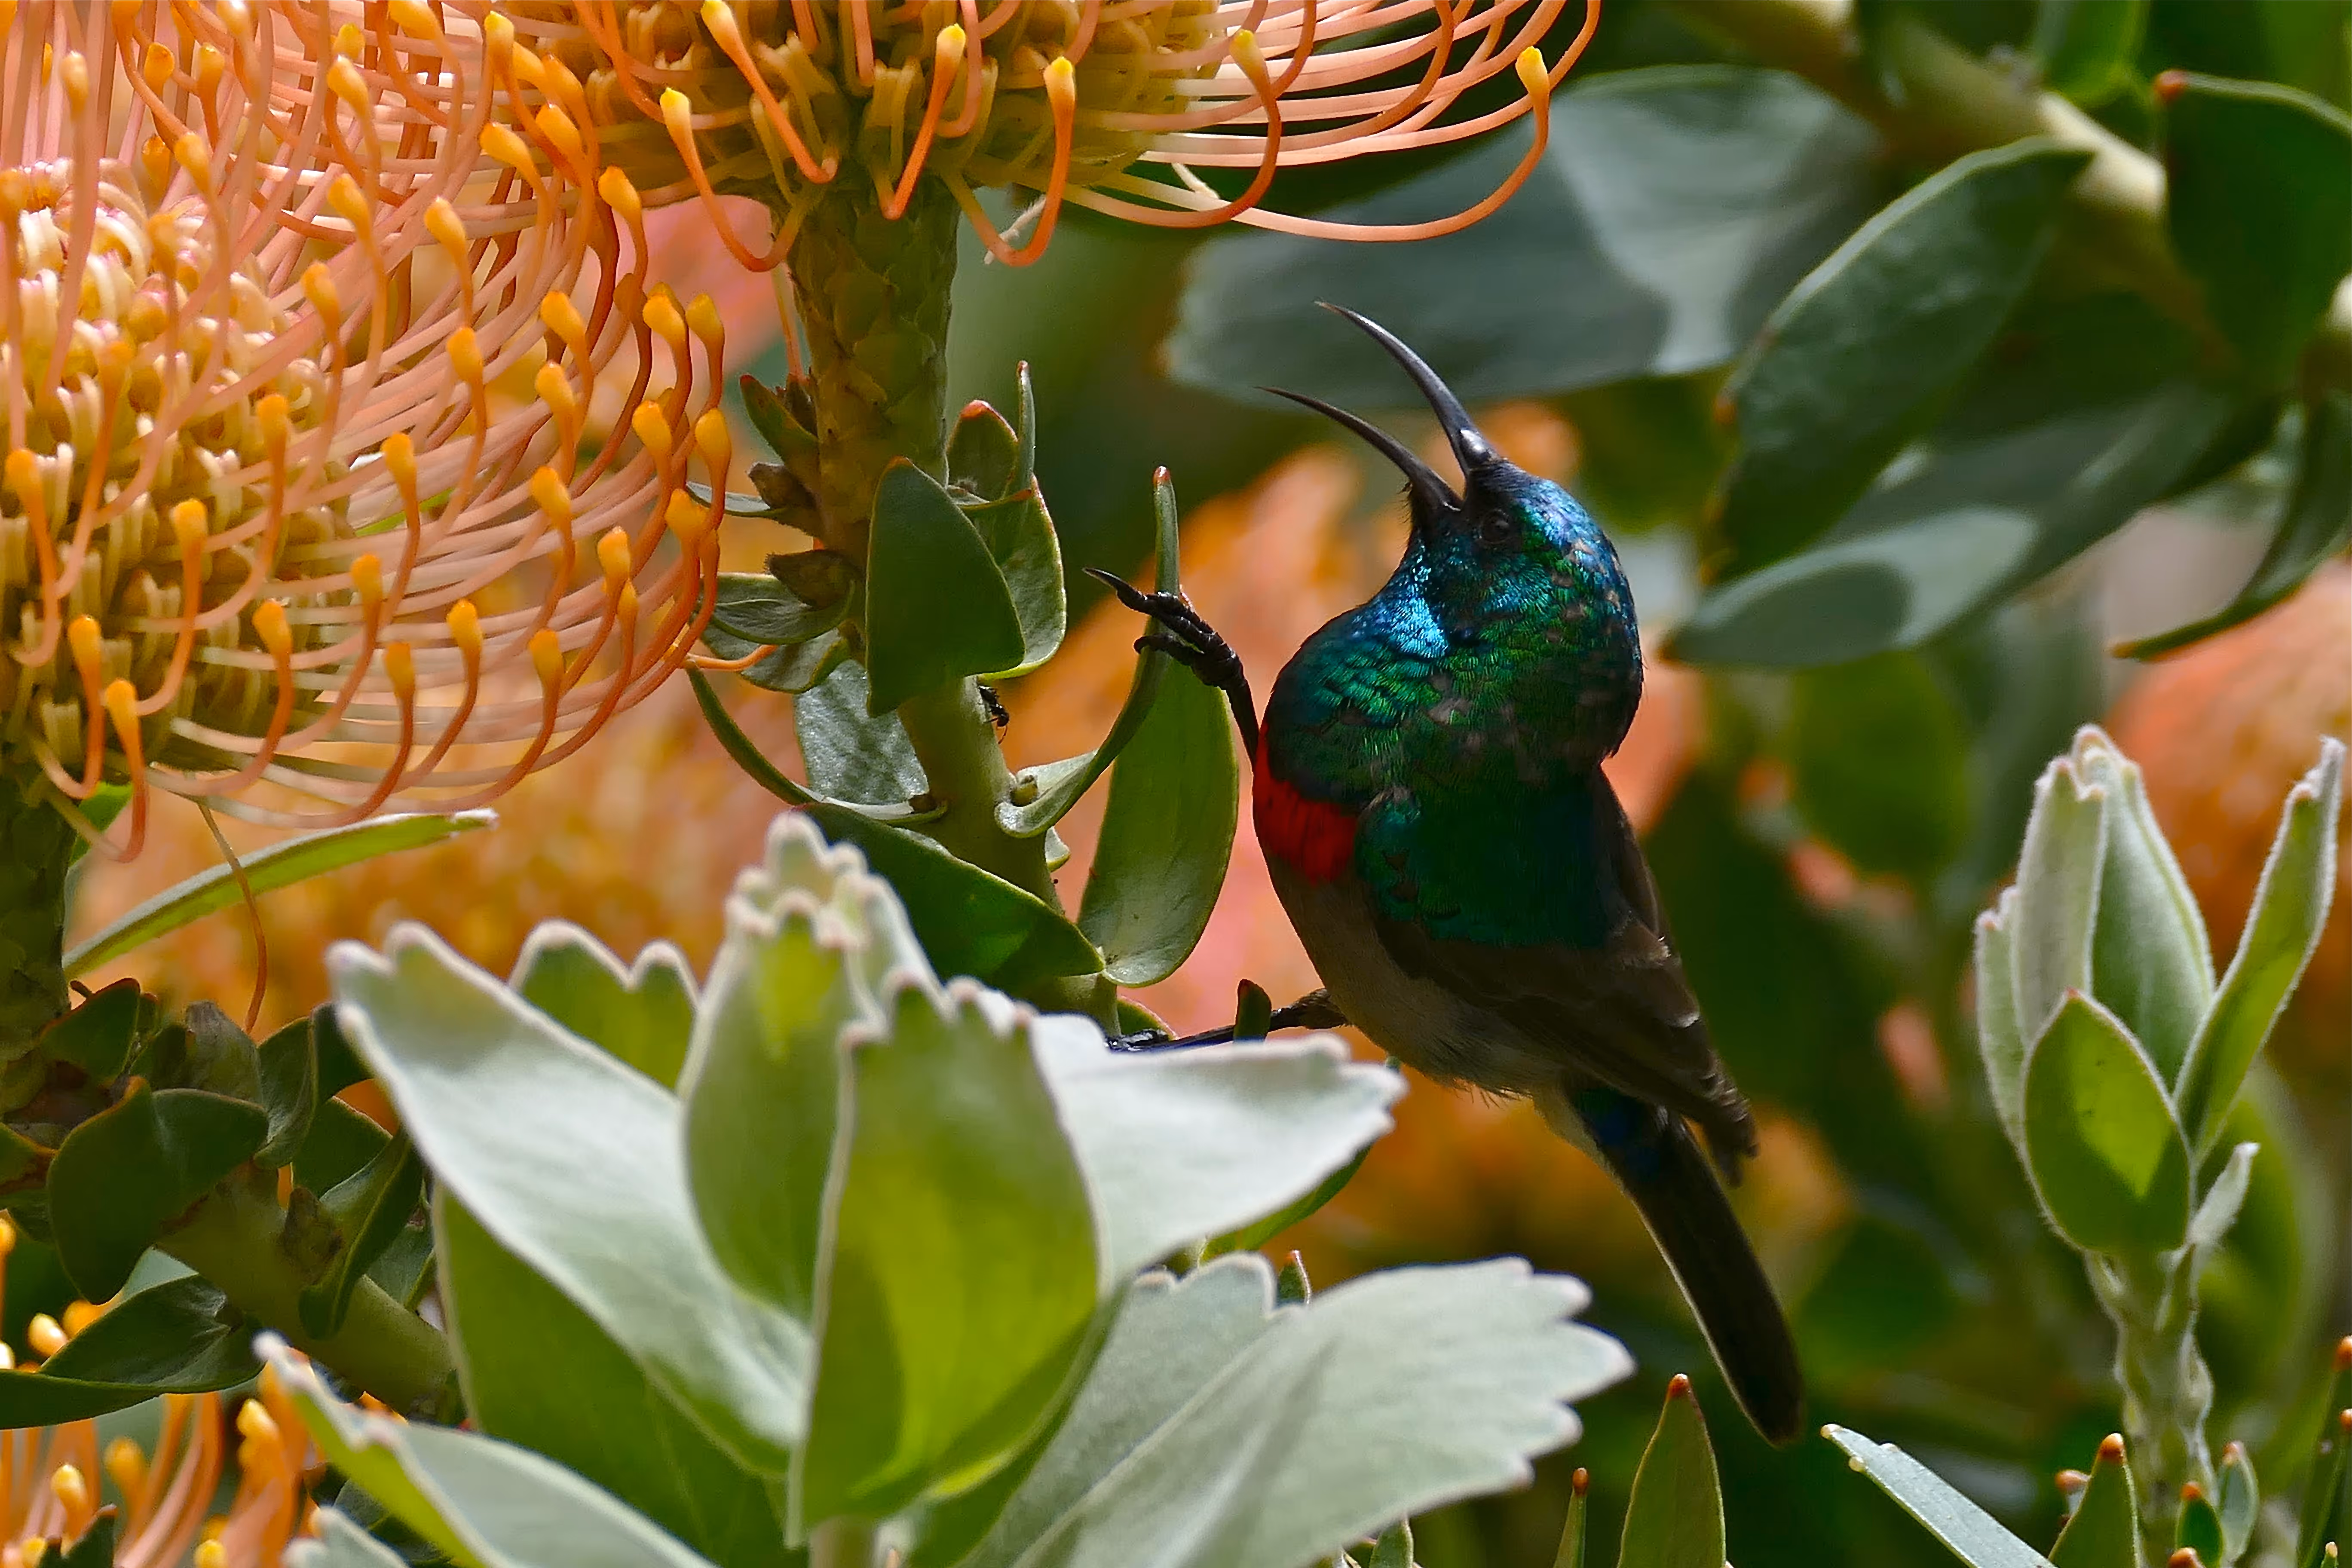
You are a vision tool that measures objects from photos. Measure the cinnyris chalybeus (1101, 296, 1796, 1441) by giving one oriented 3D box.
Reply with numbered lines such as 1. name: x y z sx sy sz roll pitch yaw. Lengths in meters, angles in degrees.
1. cinnyris chalybeus: 0.119 0.028 0.988 0.349 0.236 0.123 24 9 -14
